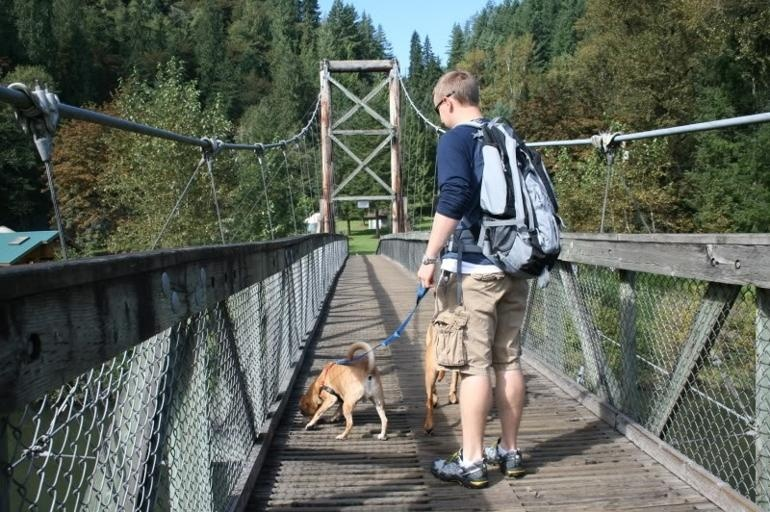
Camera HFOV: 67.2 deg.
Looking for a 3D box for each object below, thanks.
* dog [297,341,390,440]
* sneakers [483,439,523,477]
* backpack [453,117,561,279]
[{"bbox_3d":[-0.304,0.853,3.785,0.271,0.654,0.799,2,-6,-40],"label":"dog"},{"bbox_3d":[0.602,1.025,3.051,0.098,0.147,0.264,-1,7,-19],"label":"sneakers"},{"bbox_3d":[0.624,-0.272,2.863,0.514,0.843,0.316,0,4,3],"label":"backpack"}]
